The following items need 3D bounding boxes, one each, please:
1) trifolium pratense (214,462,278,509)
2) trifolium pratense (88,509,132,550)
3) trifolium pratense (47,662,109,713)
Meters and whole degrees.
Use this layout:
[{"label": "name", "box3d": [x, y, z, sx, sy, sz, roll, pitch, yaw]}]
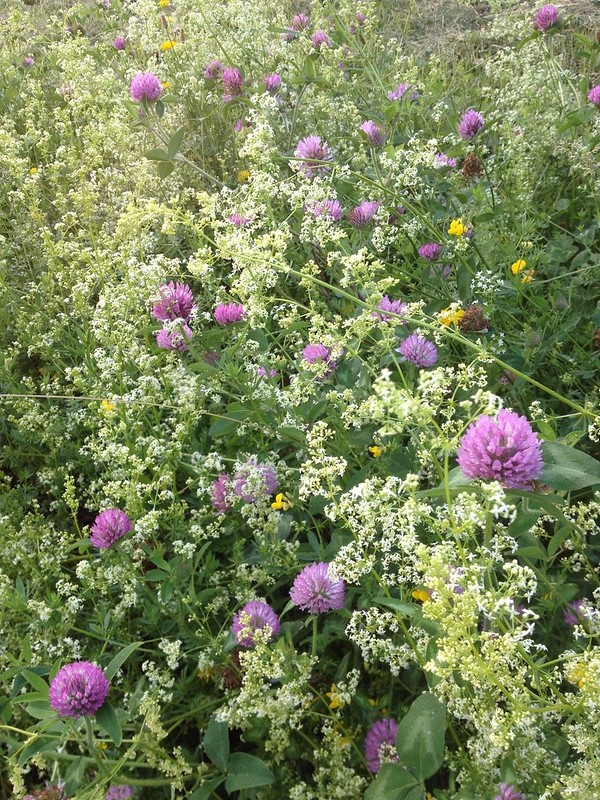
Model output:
[{"label": "trifolium pratense", "box3d": [-0.158, 0.217, 1.998, 0.135, 0.172, 0.092, -33, 72, 22]}, {"label": "trifolium pratense", "box3d": [-0.479, 0.334, 1.898, 0.107, 0.106, 0.101, -10, 20, -26]}, {"label": "trifolium pratense", "box3d": [-0.480, 0.626, 1.580, 0.108, 0.104, 0.111, 11, 50, -22]}]
